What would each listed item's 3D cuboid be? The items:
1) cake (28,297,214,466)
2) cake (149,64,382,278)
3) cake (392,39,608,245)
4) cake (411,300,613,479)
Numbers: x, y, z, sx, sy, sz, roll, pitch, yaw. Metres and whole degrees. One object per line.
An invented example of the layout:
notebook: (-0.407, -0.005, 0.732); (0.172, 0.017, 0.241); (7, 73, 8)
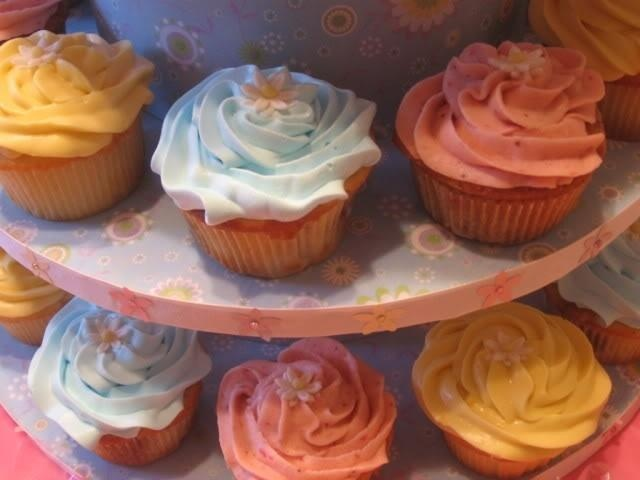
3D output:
cake: (-0.590, 0.395, 1.861); (0.497, 0.314, 0.392); (17, 48, 23)
cake: (-0.113, -0.189, 1.488); (0.447, 0.375, 0.535); (6, 54, 2)
cake: (0.432, -0.211, 1.613); (0.350, 0.332, 0.438); (10, 39, 20)
cake: (0.496, 0.460, 1.794); (0.434, 0.293, 0.468); (18, 56, 19)
